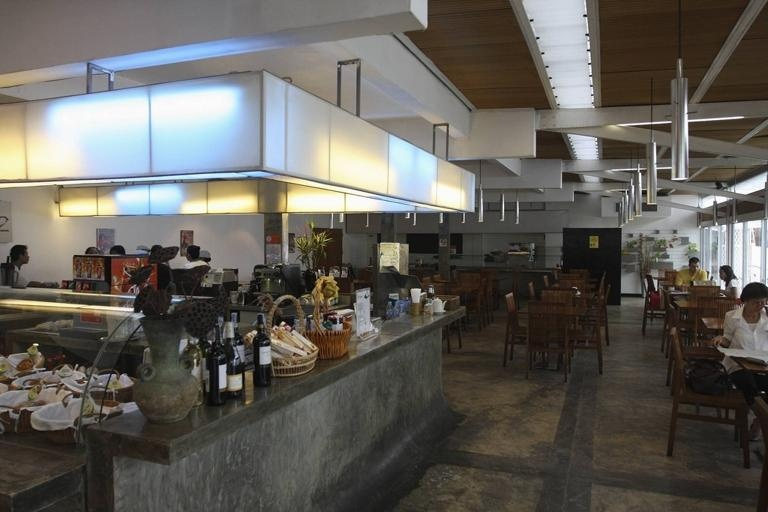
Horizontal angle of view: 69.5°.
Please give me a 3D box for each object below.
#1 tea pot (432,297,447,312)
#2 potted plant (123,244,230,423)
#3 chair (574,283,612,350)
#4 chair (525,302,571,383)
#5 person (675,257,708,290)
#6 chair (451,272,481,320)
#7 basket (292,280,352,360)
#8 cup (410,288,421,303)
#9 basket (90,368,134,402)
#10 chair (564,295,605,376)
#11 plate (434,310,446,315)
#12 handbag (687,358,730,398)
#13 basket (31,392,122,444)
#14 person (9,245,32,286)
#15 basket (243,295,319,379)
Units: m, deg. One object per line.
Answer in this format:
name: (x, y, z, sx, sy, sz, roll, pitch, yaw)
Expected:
tea pot: (0.607, 0.534, 6.143, 0.108, 0.172, 0.389, 0, 6, 10)
potted plant: (-1.158, 0.530, 3.178, 0.229, 0.777, 0.478, 5, 9, 38)
chair: (3.521, 1.038, 9.449, 0.722, 1.053, 1.105, 1, 2, 20)
chair: (2.325, 1.137, 7.810, 0.591, 1.119, 1.173, 1, 7, 18)
person: (5.944, 0.433, 10.694, 0.595, 0.744, 0.536, 7, 6, 43)
chair: (1.548, 0.741, 10.424, 0.601, 0.511, 1.067, 0, 4, 11)
basket: (-0.494, 0.495, 4.346, 0.475, 0.583, 0.465, 10, -9, -4)
cup: (0.346, 0.413, 5.950, 0.134, 0.150, 0.122, -1, 7, 0)
basket: (-1.671, 0.798, 3.403, 0.270, 0.130, 0.282, 7, 3, 40)
chair: (3.022, 1.228, 8.427, 0.594, 0.507, 1.076, -1, 3, 14)
plate: (0.597, 0.604, 6.004, 0.060, 0.063, 0.095, 1, -4, -40)
handbag: (2.979, 1.118, 5.156, 0.328, 0.278, 0.258, 2, 7, 20)
basket: (-1.805, 0.904, 3.217, 0.493, 0.277, 0.268, 0, 7, 7)
person: (-4.850, 0.109, 7.368, 0.225, 0.534, 1.380, -5, 8, -33)
basket: (-0.678, 0.545, 4.007, 0.554, 0.505, 0.548, -22, 6, -32)
